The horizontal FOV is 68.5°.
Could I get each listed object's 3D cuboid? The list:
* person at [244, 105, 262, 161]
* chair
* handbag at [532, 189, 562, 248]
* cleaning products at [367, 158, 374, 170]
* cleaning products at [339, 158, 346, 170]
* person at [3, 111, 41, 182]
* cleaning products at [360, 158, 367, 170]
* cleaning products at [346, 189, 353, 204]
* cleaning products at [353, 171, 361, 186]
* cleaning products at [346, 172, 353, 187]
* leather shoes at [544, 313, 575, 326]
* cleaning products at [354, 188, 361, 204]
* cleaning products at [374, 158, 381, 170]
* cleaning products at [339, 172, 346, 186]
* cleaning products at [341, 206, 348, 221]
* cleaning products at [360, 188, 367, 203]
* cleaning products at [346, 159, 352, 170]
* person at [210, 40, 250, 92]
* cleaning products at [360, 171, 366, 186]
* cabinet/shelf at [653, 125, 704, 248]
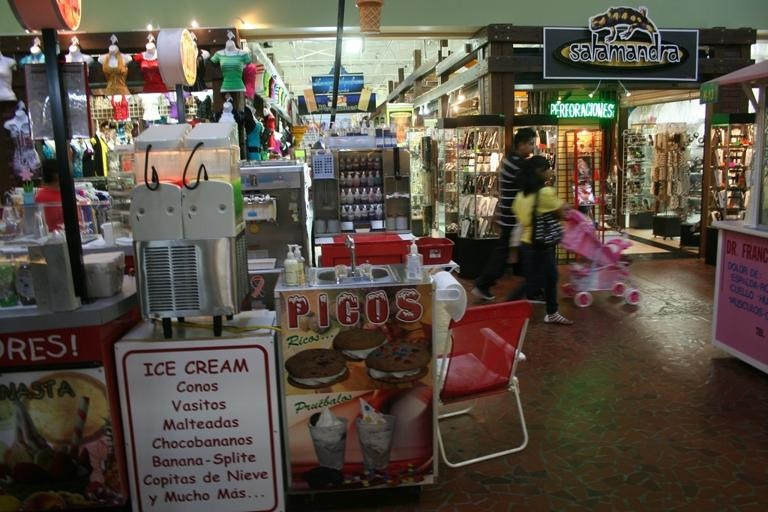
[{"bbox_3d":[-1.906,-1.812,8.315,0.201,0.784,0.362,3,13,32],"label":"person"},{"bbox_3d":[0.807,0.990,4.594,0.778,1.334,0.597,-3,11,6],"label":"chair"},{"bbox_3d":[1.891,-0.421,6.445,0.433,0.673,0.194,-13,15,-41],"label":"handbag"},{"bbox_3d":[-0.204,-1.396,8.506,0.146,0.181,0.109,1,20,3],"label":"cleaning products"},{"bbox_3d":[-0.628,-1.374,8.488,0.111,0.168,0.058,-5,11,-5],"label":"cleaning products"},{"bbox_3d":[-5.239,-1.632,8.107,0.323,1.069,0.613,-11,13,-31],"label":"person"},{"bbox_3d":[-0.295,-1.373,8.501,0.113,0.137,0.136,2,28,2],"label":"cleaning products"},{"bbox_3d":[-0.511,-0.893,8.468,0.082,0.226,0.092,3,-1,-2],"label":"cleaning products"},{"bbox_3d":[-0.409,-1.161,8.497,0.122,0.233,0.074,-4,11,-2],"label":"cleaning products"},{"bbox_3d":[-0.523,-1.153,8.482,0.104,0.201,0.067,-7,11,-13],"label":"cleaning products"},{"bbox_3d":[2.202,0.803,7.125,0.422,0.167,0.137,-1,10,0],"label":"leather shoes"},{"bbox_3d":[-0.402,-0.903,8.475,0.083,0.228,0.099,2,-7,0],"label":"cleaning products"},{"bbox_3d":[-0.093,-1.390,8.502,0.152,0.186,0.145,0,25,0],"label":"cleaning products"},{"bbox_3d":[-0.625,-1.160,8.437,0.155,0.264,0.149,0,7,-4],"label":"cleaning products"},{"bbox_3d":[-0.586,-0.644,8.463,0.124,0.223,0.041,-3,11,2],"label":"cleaning products"},{"bbox_3d":[-0.310,-0.906,8.472,0.080,0.218,0.089,3,3,-7],"label":"cleaning products"},{"bbox_3d":[-0.528,-1.374,8.555,0.084,0.126,0.130,0,-3,-9],"label":"cleaning products"},{"bbox_3d":[-2.064,-2.549,7.544,0.523,0.677,0.359,-6,11,-14],"label":"person"},{"bbox_3d":[-0.303,-1.174,8.505,0.091,0.212,0.072,-3,11,4],"label":"cleaning products"},{"bbox_3d":[6.776,-1.772,13.068,1.106,2.586,4.049,2,12,28],"label":"cabinet/shelf"}]
